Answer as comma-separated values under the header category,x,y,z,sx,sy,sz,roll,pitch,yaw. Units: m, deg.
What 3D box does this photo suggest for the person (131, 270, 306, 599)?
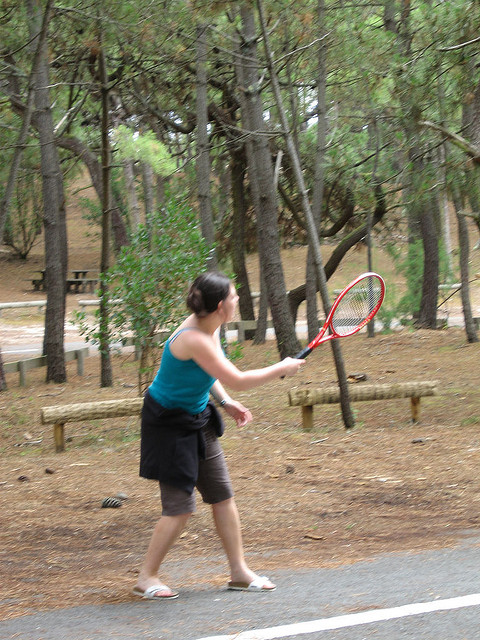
category,x,y,z,sx,sy,sz,roll,pitch,yaw
person,-0.150,0.538,3.384,0.766,1.440,0.409,-5,-1,34

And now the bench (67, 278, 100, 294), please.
category,x,y,z,sx,sy,sz,roll,pitch,yaw
bench,-8.018,-1.751,37.188,1.383,0.743,2.021,-4,-1,-13

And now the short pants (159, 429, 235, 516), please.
category,x,y,z,sx,sy,sz,roll,pitch,yaw
short pants,-0.210,0.695,3.432,0.165,0.384,0.353,-6,-1,41

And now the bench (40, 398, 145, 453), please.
category,x,y,z,sx,sy,sz,roll,pitch,yaw
bench,-1.734,1.175,8.532,1.075,0.540,1.333,-4,-1,-14

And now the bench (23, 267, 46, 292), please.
category,x,y,z,sx,sy,sz,roll,pitch,yaw
bench,-10.786,-2.134,38.503,1.033,1.139,6.302,-4,-1,-17
